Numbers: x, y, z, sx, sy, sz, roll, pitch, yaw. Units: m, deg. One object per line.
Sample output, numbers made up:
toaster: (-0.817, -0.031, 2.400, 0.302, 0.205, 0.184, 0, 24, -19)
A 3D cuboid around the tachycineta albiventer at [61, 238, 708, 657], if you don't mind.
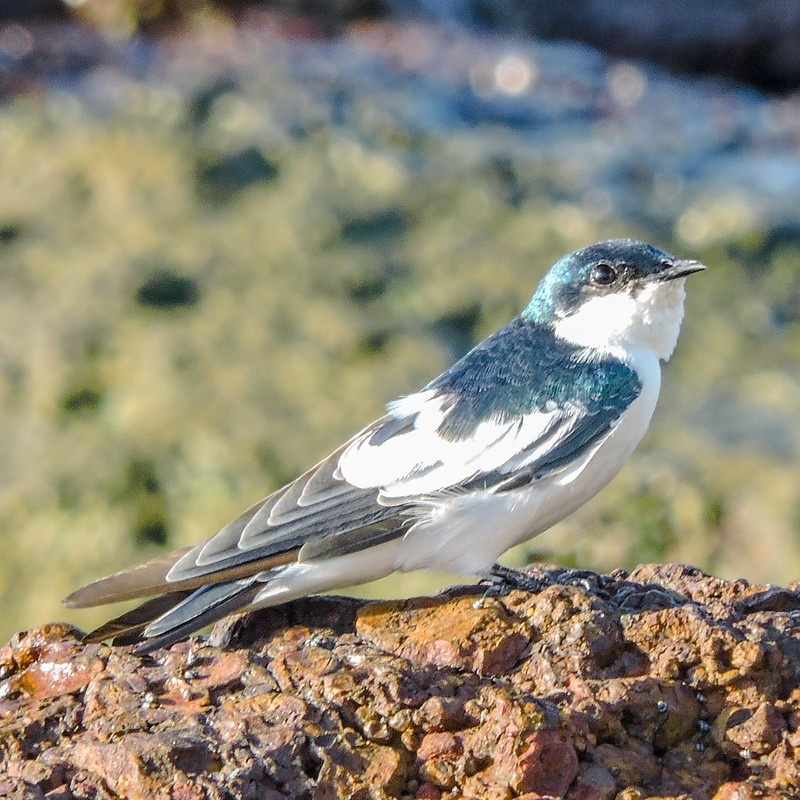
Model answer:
tachycineta albiventer: (0.158, 0.232, 7.331, 3.069, 1.090, 0.929, -26, 45, -24)
